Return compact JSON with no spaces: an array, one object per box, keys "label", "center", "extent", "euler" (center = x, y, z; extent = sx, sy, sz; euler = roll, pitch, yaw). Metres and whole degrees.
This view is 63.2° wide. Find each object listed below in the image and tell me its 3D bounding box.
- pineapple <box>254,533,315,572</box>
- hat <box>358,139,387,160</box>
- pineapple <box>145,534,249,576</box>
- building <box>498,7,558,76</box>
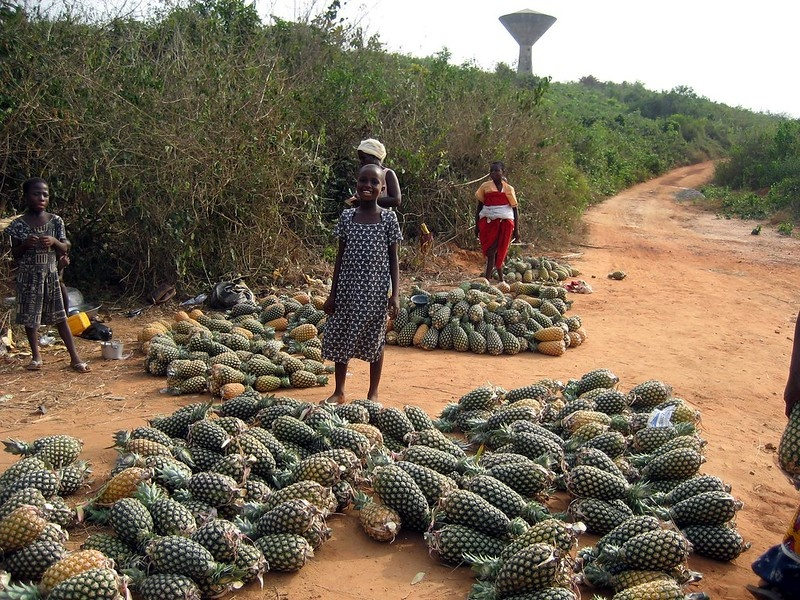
[{"label":"pineapple","center":[-0.737,1.631,4.243],"extent":[0.370,0.200,0.198],"euler":[4,23,4]},{"label":"hat","center":[-0.299,-1.595,6.796],"extent":[0.288,0.238,0.247],"euler":[5,5,-41]},{"label":"pineapple","center":[-1.321,1.552,4.089],"extent":[0.463,0.217,0.219],"euler":[9,11,8]},{"label":"building","center":[10.049,-20.798,53.062],"extent":[3.405,4.388,3.803],"euler":[1,12,-23]}]
